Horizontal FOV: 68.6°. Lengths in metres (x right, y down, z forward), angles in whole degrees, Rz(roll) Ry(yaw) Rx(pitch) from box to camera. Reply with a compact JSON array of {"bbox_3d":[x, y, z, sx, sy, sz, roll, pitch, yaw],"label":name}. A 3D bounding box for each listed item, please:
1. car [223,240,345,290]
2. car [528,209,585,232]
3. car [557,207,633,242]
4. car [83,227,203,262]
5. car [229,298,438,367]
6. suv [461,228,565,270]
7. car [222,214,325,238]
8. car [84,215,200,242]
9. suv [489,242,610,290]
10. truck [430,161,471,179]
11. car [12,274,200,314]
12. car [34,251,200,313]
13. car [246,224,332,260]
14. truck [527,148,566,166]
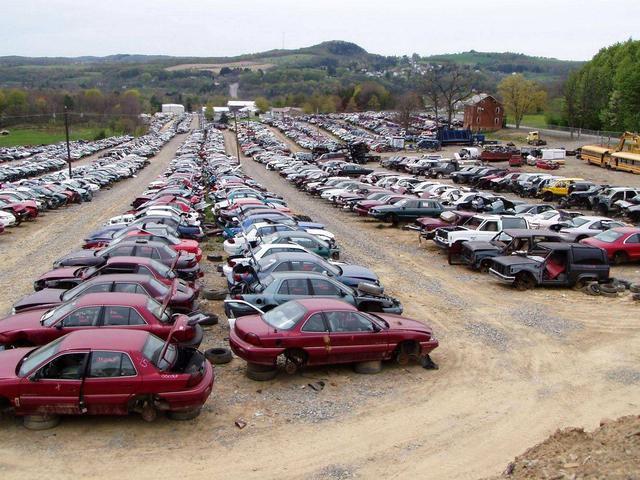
[{"bbox_3d":[-1.657,0.925,16.945,4.101,0.957,1.563,-3,12,-12],"label":"car"},{"bbox_3d":[13.078,-0.756,26.152,3.250,0.688,1.489,-7,20,-11],"label":"car"},{"bbox_3d":[14.450,-0.710,24.475,3.866,0.836,1.500,-6,17,-12],"label":"car"},{"bbox_3d":[-6.959,0.364,18.461,4.378,1.007,1.538,2,11,-1],"label":"car"},{"bbox_3d":[0.399,2.362,12.157,5.183,0.975,1.996,-2,10,-12],"label":"car"},{"bbox_3d":[8.531,0.585,20.699,3.937,1.194,2.132,-1,11,-8],"label":"suv"},{"bbox_3d":[-2.165,-0.366,23.024,4.619,1.037,1.743,-3,15,-12],"label":"car"},{"bbox_3d":[-8.226,-0.224,21.797,4.613,1.027,1.723,1,10,-1],"label":"car"},{"bbox_3d":[9.192,1.155,18.994,4.042,1.211,2.145,1,11,-5],"label":"suv"},{"bbox_3d":[14.007,-7.495,51.113,3.818,1.203,1.686,-9,24,4],"label":"truck"},{"bbox_3d":[-5.911,1.380,12.959,4.362,0.828,1.733,2,7,-3],"label":"car"},{"bbox_3d":[-6.186,1.583,13.860,5.409,1.219,1.986,4,18,-1],"label":"car"},{"bbox_3d":[-0.962,0.232,18.882,2.707,0.641,1.214,-3,24,-13],"label":"car"},{"bbox_3d":[27.694,-9.895,56.805,4.820,1.655,2.954,0,9,2],"label":"truck"}]
